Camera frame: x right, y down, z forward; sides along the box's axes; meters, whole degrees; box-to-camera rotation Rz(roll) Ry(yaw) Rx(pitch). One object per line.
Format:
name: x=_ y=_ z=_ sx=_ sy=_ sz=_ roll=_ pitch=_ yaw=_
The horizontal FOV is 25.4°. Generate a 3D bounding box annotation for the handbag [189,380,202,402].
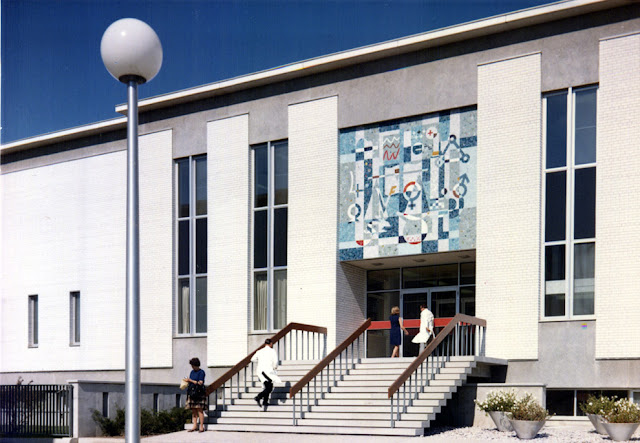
handbag: x=-4.467 y=6.207 z=51.208 sx=0.541 sy=0.652 sz=0.601 roll=-1 pitch=-10 yaw=-6

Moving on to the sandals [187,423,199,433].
sandals: x=-4.610 y=7.625 z=51.823 sx=0.190 sy=0.240 sz=0.567 roll=-4 pitch=-21 yaw=13
